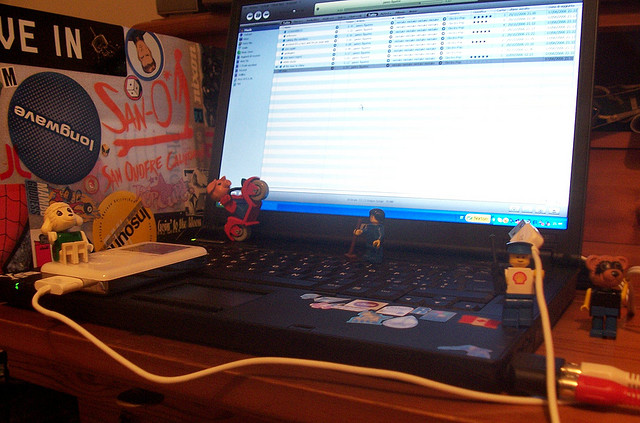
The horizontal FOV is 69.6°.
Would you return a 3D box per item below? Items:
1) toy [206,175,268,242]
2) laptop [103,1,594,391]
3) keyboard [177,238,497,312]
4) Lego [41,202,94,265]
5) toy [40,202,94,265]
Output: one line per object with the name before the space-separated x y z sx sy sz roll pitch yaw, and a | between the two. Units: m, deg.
toy | -0.112 -0.001 0.909 0.166 0.150 0.085 0 1 23
laptop | 0.066 -0.037 0.724 0.636 0.380 0.449 6 10 29
keyboard | -0.003 0.089 0.730 0.531 0.023 0.217 5 14 20
Lego | -0.349 0.032 0.633 0.084 0.094 0.076 -3 0 33
toy | -0.355 0.028 0.647 0.064 0.079 0.062 -3 10 -44
